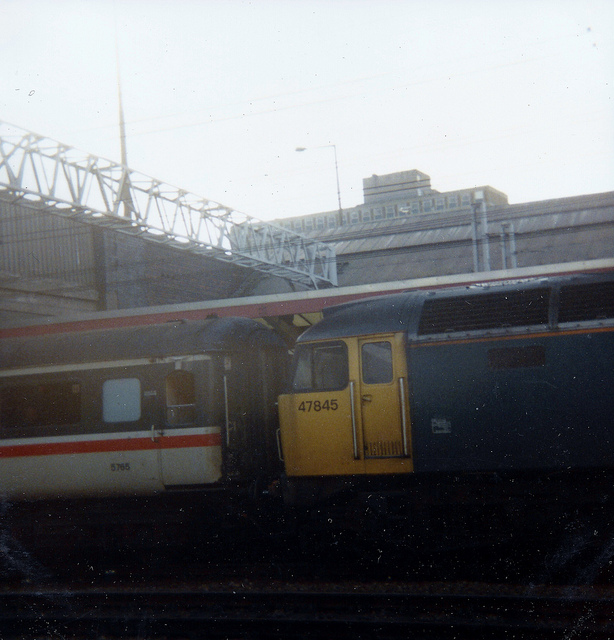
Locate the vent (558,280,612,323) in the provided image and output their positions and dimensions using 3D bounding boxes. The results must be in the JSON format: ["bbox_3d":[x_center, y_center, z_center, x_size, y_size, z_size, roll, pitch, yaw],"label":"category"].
[{"bbox_3d":[3.278,-0.216,10.357,0.608,0.428,0.140,-3,3,19],"label":"vent"}]

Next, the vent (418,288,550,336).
[{"bbox_3d":[2.254,-0.115,10.857,2.159,0.712,0.558,-5,0,28],"label":"vent"}]

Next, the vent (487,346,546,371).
[{"bbox_3d":[2.496,0.456,10.451,0.673,0.241,0.080,-4,3,14],"label":"vent"}]
